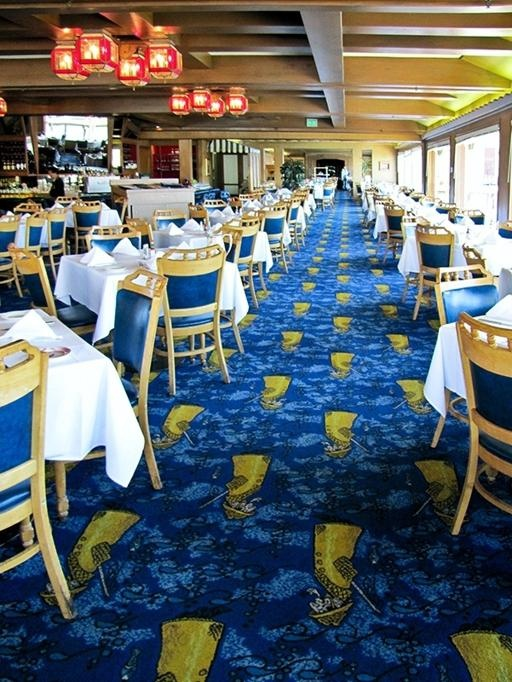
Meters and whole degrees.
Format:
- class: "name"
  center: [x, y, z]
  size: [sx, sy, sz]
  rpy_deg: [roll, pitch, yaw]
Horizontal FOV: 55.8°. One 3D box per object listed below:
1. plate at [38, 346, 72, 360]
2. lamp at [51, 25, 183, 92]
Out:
- class: "plate"
  center: [-0.666, 0.038, 1.612]
  size: [0.092, 0.022, 0.160]
  rpy_deg: [-5, 11, -23]
- class: "lamp"
  center: [-1.625, -3.241, 5.714]
  size: [1.117, 0.471, 1.028]
  rpy_deg: [0, 17, -8]
